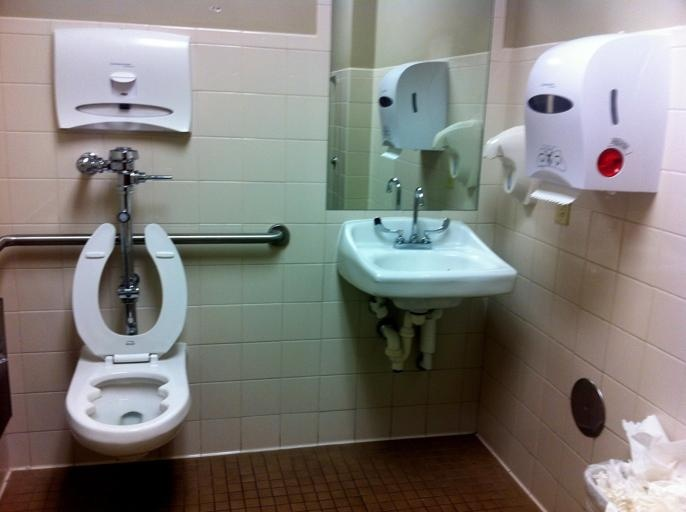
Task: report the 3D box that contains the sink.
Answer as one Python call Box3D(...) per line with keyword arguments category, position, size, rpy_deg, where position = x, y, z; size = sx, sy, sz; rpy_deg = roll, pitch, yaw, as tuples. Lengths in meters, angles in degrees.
Box3D(category="sink", position=(0.314, 0.006, 2.331), size=(0.651, 0.264, 0.479), rpy_deg=(-5, 17, -7))
